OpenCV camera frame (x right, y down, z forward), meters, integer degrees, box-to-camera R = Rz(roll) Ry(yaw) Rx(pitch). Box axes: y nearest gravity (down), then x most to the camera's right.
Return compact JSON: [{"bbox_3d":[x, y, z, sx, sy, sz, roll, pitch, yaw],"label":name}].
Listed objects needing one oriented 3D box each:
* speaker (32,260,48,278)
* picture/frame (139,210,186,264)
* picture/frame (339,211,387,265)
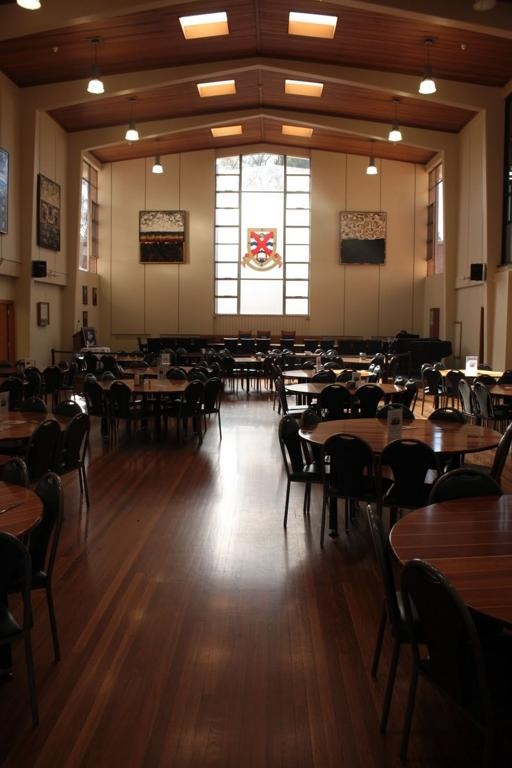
[{"bbox_3d":[-4.751,-2.470,11.320,0.291,0.403,0.325,0,2,-14],"label":"speaker"},{"bbox_3d":[-2.867,-4.575,16.029,1.269,1.725,0.112,0,-1,0],"label":"picture/frame"},{"bbox_3d":[3.288,-4.527,15.952,1.266,1.736,0.204,1,0,-3],"label":"picture/frame"}]
